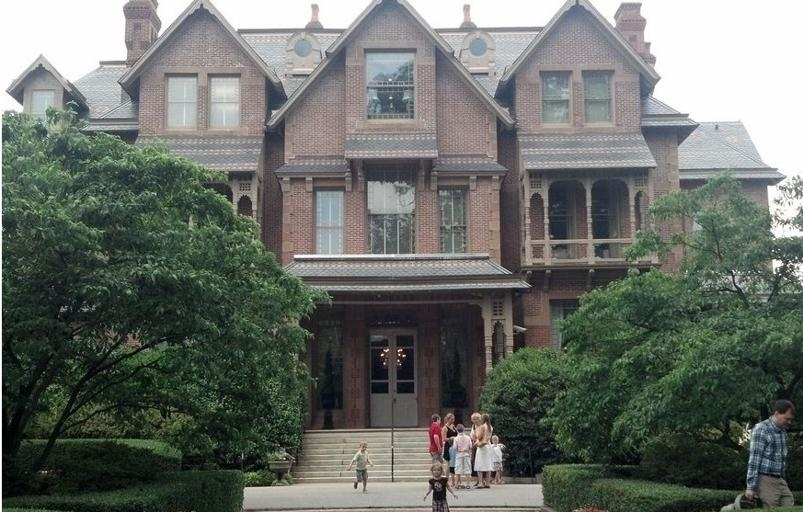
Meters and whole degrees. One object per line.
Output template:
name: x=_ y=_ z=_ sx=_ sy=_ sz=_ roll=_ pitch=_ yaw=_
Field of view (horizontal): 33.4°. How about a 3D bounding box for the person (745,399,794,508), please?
person: x=8.276 y=4.410 z=29.975 sx=1.108 sy=2.364 sz=0.620 roll=-3 pitch=-12 yaw=13
